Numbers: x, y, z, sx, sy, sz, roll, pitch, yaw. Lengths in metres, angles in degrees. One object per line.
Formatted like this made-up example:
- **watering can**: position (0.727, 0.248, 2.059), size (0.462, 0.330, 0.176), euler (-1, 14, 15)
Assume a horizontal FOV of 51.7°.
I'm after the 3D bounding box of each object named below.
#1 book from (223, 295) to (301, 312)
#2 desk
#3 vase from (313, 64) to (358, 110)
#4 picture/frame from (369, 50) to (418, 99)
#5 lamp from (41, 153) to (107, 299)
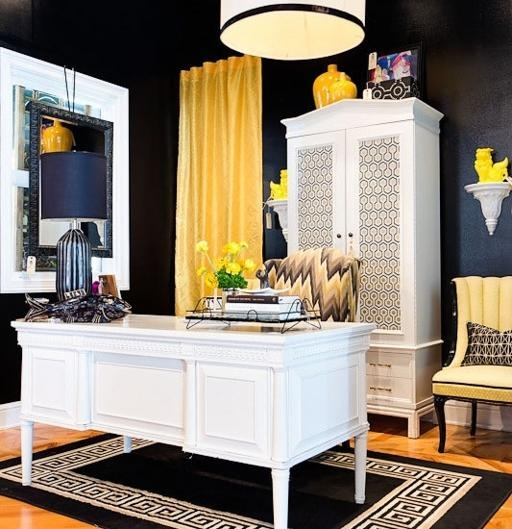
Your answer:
- **book**: position (0.028, 0.149, 1.974), size (0.298, 0.065, 0.142), euler (0, -4, -5)
- **desk**: position (-0.319, 0.563, 2.108), size (1.413, 0.644, 0.576), euler (-2, -4, 22)
- **vase**: position (0.579, -1.329, 4.012), size (0.224, 0.327, 0.258), euler (-3, 10, -1)
- **picture/frame**: position (1.005, -1.343, 3.923), size (0.370, 0.470, 0.104), euler (0, -21, 22)
- **lamp**: position (-0.951, -0.210, 2.735), size (0.335, 0.771, 0.380), euler (1, -4, -20)
